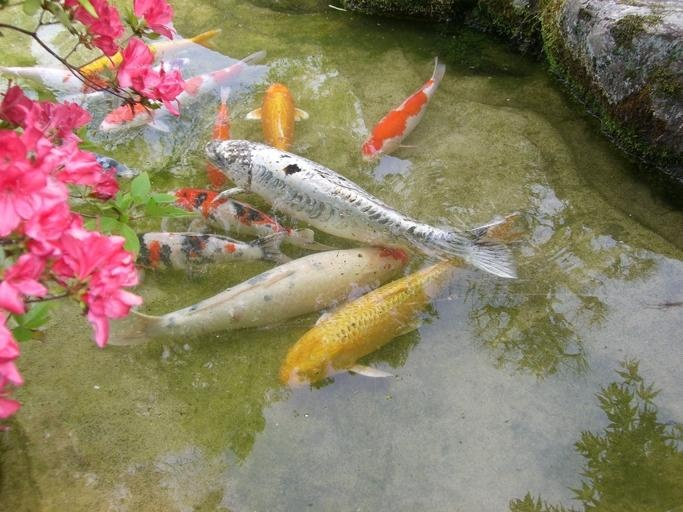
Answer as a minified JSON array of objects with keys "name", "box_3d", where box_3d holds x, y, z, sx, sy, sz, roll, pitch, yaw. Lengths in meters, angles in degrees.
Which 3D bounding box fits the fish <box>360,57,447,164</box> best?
[{"name":"fish","box_3d":[0.631,-1.476,9.356,0.270,0.430,1.187,37,72,5]}]

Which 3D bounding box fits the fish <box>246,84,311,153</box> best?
[{"name":"fish","box_3d":[-0.618,-1.403,9.225,0.377,0.330,0.860,2,52,-8]}]

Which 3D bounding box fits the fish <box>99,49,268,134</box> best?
[{"name":"fish","box_3d":[-1.483,-1.523,8.554,1.662,0.339,0.369,-33,93,-20]}]

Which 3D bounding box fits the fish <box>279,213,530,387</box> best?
[{"name":"fish","box_3d":[0.212,0.581,8.016,0.730,0.259,1.763,37,71,15]}]
